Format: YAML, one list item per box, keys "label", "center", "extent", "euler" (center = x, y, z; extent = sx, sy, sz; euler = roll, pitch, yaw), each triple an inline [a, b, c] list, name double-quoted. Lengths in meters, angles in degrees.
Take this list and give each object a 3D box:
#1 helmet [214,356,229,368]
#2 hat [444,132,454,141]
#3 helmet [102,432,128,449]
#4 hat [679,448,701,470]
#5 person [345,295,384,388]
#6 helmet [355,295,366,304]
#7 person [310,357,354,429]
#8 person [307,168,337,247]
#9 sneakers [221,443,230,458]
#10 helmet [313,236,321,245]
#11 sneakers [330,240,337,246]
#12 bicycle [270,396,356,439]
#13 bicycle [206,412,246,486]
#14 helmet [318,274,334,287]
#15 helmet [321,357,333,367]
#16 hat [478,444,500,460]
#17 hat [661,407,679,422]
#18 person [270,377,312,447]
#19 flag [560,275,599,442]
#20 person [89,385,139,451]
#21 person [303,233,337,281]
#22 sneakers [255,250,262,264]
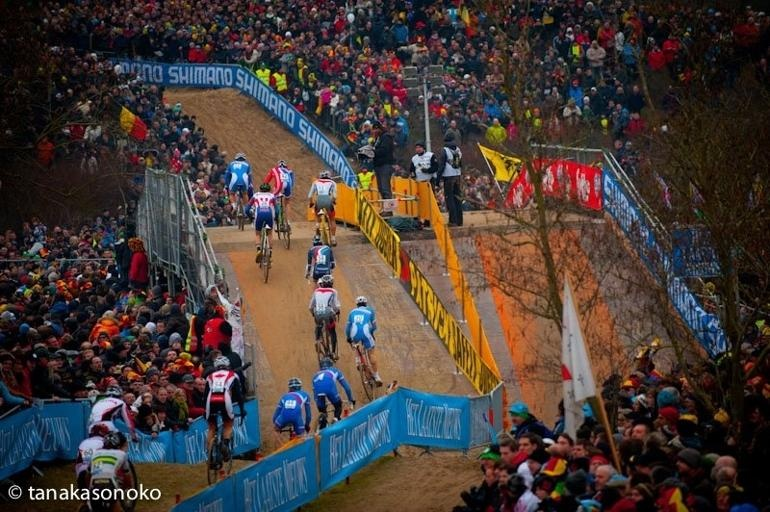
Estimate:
- label: "helmet"
  center: [-3.684, 2.364, 22.289]
  extent: [0.276, 0.244, 0.298]
  euler: [-8, 0, -1]
- label: "hat"
  center: [2.125, -3.957, 32.748]
  extent: [0.373, 0.367, 0.558]
  euler: [-4, 3, 15]
- label: "helmet"
  center: [-5.459, 3.723, 20.033]
  extent: [0.278, 0.399, 0.396]
  euler: [2, 4, -1]
- label: "hat"
  center: [5.740, 3.838, 18.855]
  extent: [0.371, 0.317, 0.282]
  euler: [15, -7, 34]
- label: "person"
  center: [-0.616, 2.231, 25.909]
  extent: [0.754, 2.336, 0.609]
  euler: [-5, 4, -3]
- label: "helmet"
  center: [-0.715, 1.189, 27.408]
  extent: [0.290, 0.185, 0.393]
  euler: [-2, 2, -2]
- label: "person"
  center: [-1.348, 3.481, 24.743]
  extent: [0.767, 1.233, 1.657]
  euler: [-13, 34, 7]
- label: "person"
  center: [-1.984, -1.862, 31.715]
  extent: [0.928, 1.607, 2.220]
  euler: [-6, 22, 1]
- label: "sneakers"
  center: [-3.527, 4.301, 21.976]
  extent: [0.212, 0.306, 0.340]
  euler: [-6, 5, -10]
- label: "helmet"
  center: [-1.948, -0.461, 28.033]
  extent: [0.157, 0.230, 0.216]
  euler: [-2, -13, -2]
- label: "sneakers"
  center: [-1.641, -0.424, 31.401]
  extent: [0.145, 0.164, 0.156]
  euler: [-2, 2, -9]
- label: "bicycle"
  center: [-1.755, 4.019, 23.817]
  extent: [1.971, 1.421, 1.038]
  euler: [-1, 2, -17]
- label: "bicycle"
  center: [-3.668, 4.447, 22.238]
  extent: [0.607, 0.921, 1.413]
  euler: [4, 5, 2]
- label: "helmet"
  center: [-1.568, 0.588, 26.431]
  extent: [0.277, 0.387, 0.334]
  euler: [15, -14, -37]
- label: "helmet"
  center: [-1.415, 2.574, 23.998]
  extent: [0.242, 0.212, 0.247]
  euler: [-5, 7, -33]
- label: "hat"
  center: [2.039, 3.910, 19.719]
  extent: [0.356, 0.289, 0.527]
  euler: [-2, -20, -13]
- label: "hat"
  center: [5.862, 3.294, 20.629]
  extent: [0.317, 0.316, 0.248]
  euler: [-11, -10, 30]
- label: "person"
  center: [-2.277, 3.691, 23.113]
  extent: [0.905, 1.673, 0.748]
  euler: [6, 1, 18]
- label: "flag"
  center: [3.771, 1.994, 19.970]
  extent: [0.707, 4.120, 0.523]
  euler: [9, 45, 21]
- label: "person"
  center: [-5.612, 3.697, 20.966]
  extent: [0.911, 1.976, 0.767]
  euler: [8, -10, -24]
- label: "person"
  center: [-1.840, 0.046, 28.051]
  extent: [0.706, 1.294, 1.320]
  euler: [-6, 5, -16]
- label: "sneakers"
  center: [-3.867, 0.085, 30.122]
  extent: [0.163, 0.414, 0.178]
  euler: [8, 40, -23]
